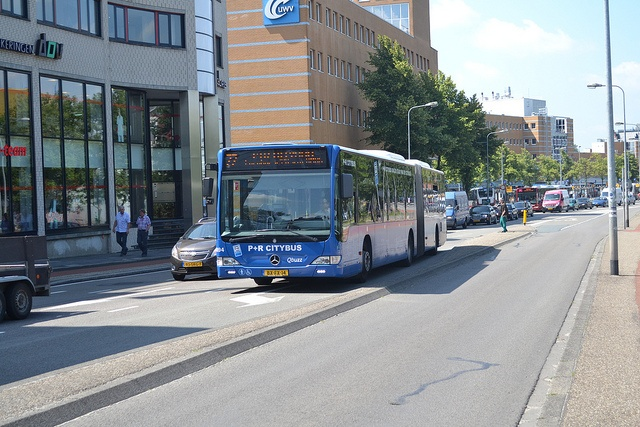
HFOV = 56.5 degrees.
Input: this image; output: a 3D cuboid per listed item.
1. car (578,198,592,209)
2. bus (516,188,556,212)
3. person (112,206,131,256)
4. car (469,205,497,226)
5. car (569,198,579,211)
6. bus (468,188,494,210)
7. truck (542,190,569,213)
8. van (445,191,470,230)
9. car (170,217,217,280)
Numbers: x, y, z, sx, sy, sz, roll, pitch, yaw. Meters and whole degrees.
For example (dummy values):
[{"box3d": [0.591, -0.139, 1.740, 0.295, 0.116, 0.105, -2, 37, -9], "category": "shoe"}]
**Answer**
[{"box3d": [38.769, -1.504, 87.052, 1.388, 1.065, 3.023, -3, -6, 28], "category": "car"}, {"box3d": [29.448, -1.802, 80.892, 3.647, 3.587, 11.521, -1, -1, 20], "category": "bus"}, {"box3d": [-9.768, 0.860, 29.305, 0.691, 2.123, 1.108, -2, 1, -21], "category": "person"}, {"box3d": [15.295, 0.166, 55.726, 1.550, 1.780, 3.224, -1, 1, 40], "category": "car"}, {"box3d": [35.852, -1.336, 84.063, 1.158, 1.112, 2.120, -4, -5, 27], "category": "car"}, {"box3d": [21.333, -2.710, 79.569, 3.110, 4.152, 8.695, -1, -1, 18], "category": "bus"}, {"box3d": [32.382, -1.655, 81.673, 2.251, 2.383, 4.953, -2, -5, 27], "category": "truck"}, {"box3d": [11.178, -0.511, 49.933, 1.797, 2.559, 4.910, -1, 7, 30], "category": "van"}, {"box3d": [-4.029, 1.191, 20.189, 1.156, 1.265, 2.520, -3, -4, 9], "category": "car"}]
